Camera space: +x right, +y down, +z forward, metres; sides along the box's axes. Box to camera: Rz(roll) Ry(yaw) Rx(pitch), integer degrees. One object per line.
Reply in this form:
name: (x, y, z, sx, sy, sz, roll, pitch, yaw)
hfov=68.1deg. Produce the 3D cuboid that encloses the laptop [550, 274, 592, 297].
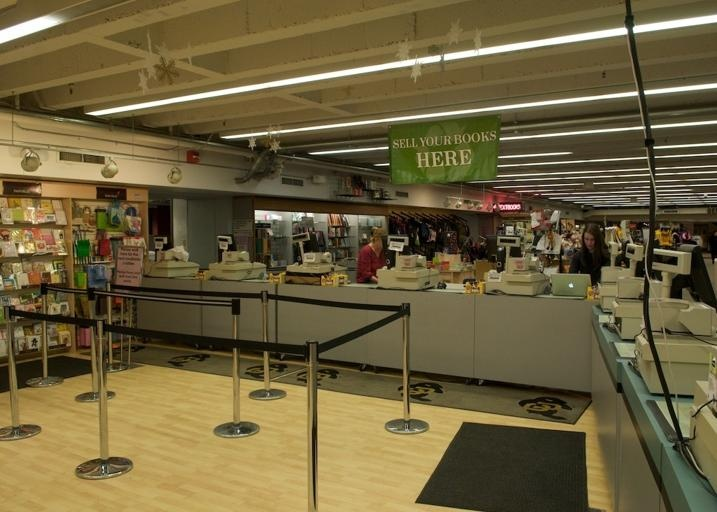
laptop: (2.655, 0.372, 6.681, 0.403, 0.277, 0.289, 1, -1, 21)

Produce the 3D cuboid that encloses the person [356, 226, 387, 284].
person: (0.183, -0.007, 8.430, 0.427, 0.839, 0.833, 0, 9, 6)

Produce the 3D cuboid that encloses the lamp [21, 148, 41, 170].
lamp: (-4.821, -1.406, 7.774, 0.211, 0.338, 0.656, -6, 10, -32)

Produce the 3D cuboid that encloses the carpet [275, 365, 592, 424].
carpet: (1.056, 1.715, 6.618, 3.373, 0.091, 1.008, 3, 9, 20)

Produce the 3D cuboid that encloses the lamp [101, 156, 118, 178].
lamp: (-4.062, -1.508, 8.695, 0.305, 0.410, 0.109, -6, 0, 0)

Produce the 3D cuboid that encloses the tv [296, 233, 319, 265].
tv: (-0.830, -0.095, 8.528, 0.336, 0.480, 0.858, -2, 9, -6)

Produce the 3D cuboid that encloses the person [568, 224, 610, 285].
person: (3.155, -0.027, 7.243, 0.480, 0.834, 0.591, 3, 9, 22)

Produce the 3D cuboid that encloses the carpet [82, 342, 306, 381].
carpet: (-2.196, 1.601, 7.953, 3.158, 0.128, 1.099, 3, 9, 19)

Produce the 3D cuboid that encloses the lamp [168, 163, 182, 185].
lamp: (-3.430, -1.490, 9.875, 0.265, 0.340, 0.412, -4, 9, -19)
